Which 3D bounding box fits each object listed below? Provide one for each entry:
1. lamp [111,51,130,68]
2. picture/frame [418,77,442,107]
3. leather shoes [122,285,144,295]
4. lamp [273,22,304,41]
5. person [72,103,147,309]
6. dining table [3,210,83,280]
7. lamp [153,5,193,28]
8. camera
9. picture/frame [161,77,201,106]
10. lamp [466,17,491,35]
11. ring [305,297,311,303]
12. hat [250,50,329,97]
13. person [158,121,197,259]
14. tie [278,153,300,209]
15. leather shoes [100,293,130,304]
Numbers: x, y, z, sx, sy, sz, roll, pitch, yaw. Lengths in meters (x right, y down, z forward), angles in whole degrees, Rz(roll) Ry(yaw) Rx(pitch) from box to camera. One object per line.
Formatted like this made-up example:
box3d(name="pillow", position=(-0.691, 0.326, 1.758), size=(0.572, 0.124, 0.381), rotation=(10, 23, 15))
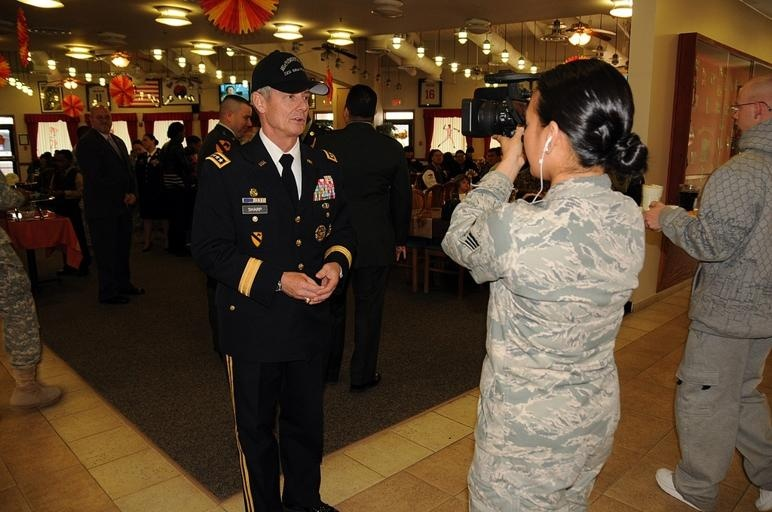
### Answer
box3d(name="lamp", position=(-5.326, -3.950, 11.096), size=(0.256, 0.263, 0.510), rotation=(-7, 17, -19))
box3d(name="picture/frame", position=(1.498, -5.585, 18.784), size=(0.945, 0.995, 0.143), rotation=(7, 16, 23))
box3d(name="leather shoes", position=(-2.778, 0.366, 6.114), size=(0.242, 0.097, 0.079), rotation=(0, 26, -13))
box3d(name="lamp", position=(-1.370, -3.222, 7.963), size=(0.475, 0.161, 0.459), rotation=(-4, 16, -20))
box3d(name="person", position=(-2.897, -0.525, 5.811), size=(0.499, 2.006, 0.662), rotation=(0, 16, 6))
box3d(name="dining table", position=(-3.573, -0.215, 5.808), size=(0.641, 0.391, 0.825), rotation=(-7, 15, -36))
box3d(name="lamp", position=(-2.843, -3.185, 7.346), size=(0.518, 0.217, 0.445), rotation=(1, 16, 8))
box3d(name="camera", position=(0.450, -0.578, 2.142), size=(0.283, 0.235, 0.172), rotation=(8, 19, 24))
box3d(name="picture/frame", position=(-7.020, -5.501, 18.639), size=(1.268, 0.874, 0.750), rotation=(3, 17, 16))
box3d(name="lamp", position=(1.448, -3.601, 8.710), size=(0.376, 0.163, 0.672), rotation=(1, 16, 7))
box3d(name="ring", position=(-0.359, 0.201, 2.539), size=(0.023, 0.031, 0.031), rotation=(-1, -8, -14))
box3d(name="hat", position=(-0.468, -0.873, 2.628), size=(0.370, 0.193, 0.254), rotation=(12, 23, 35))
box3d(name="person", position=(-3.031, -0.967, 8.034), size=(0.486, 1.866, 0.653), rotation=(-6, 17, -15))
box3d(name="tie", position=(-0.452, -0.360, 2.591), size=(0.071, 0.272, 0.071), rotation=(-6, -9, -8))
box3d(name="leather shoes", position=(-2.835, 0.457, 5.846), size=(0.319, 0.128, 0.111), rotation=(-2, 19, -7))
